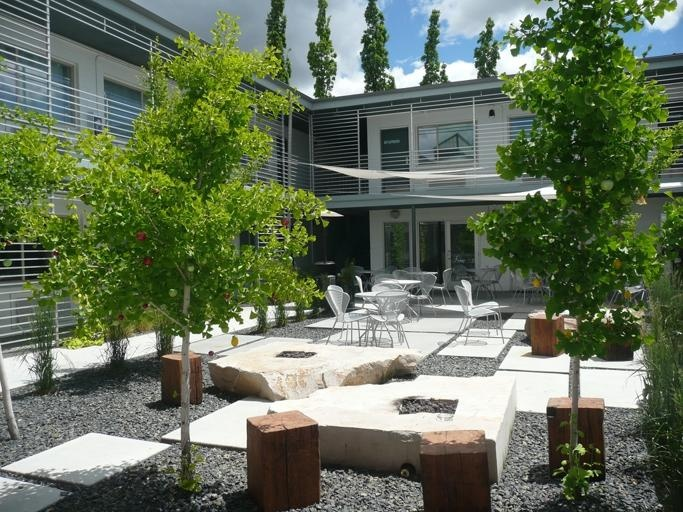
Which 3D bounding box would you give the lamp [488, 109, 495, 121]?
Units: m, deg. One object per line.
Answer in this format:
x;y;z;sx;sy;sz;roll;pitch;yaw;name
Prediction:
4.030;-3.764;14.237;0.218;0.256;0.231;-1;-6;5;lamp
